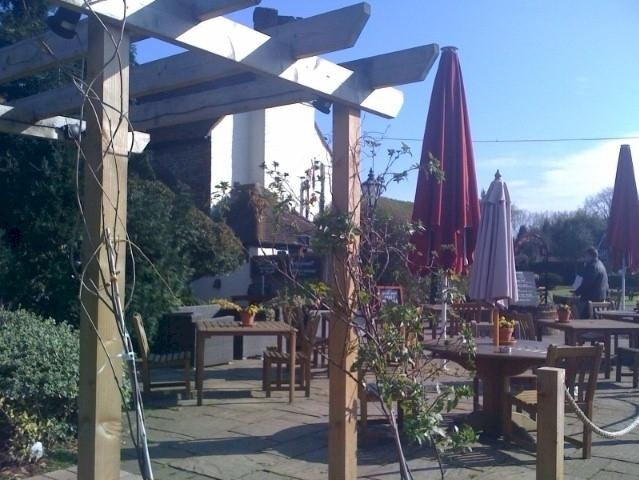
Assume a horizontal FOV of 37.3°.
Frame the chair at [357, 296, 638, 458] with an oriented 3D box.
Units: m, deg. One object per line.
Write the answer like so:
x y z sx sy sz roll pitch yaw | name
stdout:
2.938 2.327 14.008 2.661 1.694 1.887 -3 -5 24 | chair
